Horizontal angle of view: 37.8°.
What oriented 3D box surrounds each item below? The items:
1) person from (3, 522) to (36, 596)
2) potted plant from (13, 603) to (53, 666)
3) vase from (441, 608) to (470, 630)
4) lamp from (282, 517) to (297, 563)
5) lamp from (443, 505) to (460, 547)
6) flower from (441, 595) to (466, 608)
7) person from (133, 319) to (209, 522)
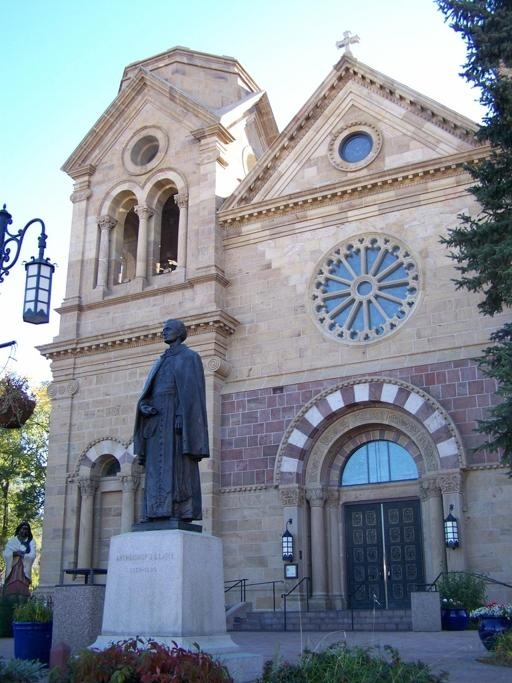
[{"bbox_3d":[-5.914,5.431,18.743,0.718,1.740,0.609,3,-20,-16],"label":"person"},{"bbox_3d":[-3.510,4.589,11.747,0.583,0.875,1.342,3,-19,-16],"label":"potted plant"},{"bbox_3d":[4.146,5.860,15.677,0.526,0.367,0.484,12,-34,-14],"label":"vase"},{"bbox_3d":[0.858,5.465,20.427,0.320,1.158,0.317,-7,-20,11],"label":"lamp"},{"bbox_3d":[4.724,4.634,18.126,0.351,0.789,0.293,-8,-20,15],"label":"lamp"},{"bbox_3d":[4.232,5.664,16.167,0.482,0.218,0.335,-6,-18,10],"label":"flower"},{"bbox_3d":[-1.104,1.001,10.098,1.045,2.877,0.539,-14,-22,28],"label":"person"}]
